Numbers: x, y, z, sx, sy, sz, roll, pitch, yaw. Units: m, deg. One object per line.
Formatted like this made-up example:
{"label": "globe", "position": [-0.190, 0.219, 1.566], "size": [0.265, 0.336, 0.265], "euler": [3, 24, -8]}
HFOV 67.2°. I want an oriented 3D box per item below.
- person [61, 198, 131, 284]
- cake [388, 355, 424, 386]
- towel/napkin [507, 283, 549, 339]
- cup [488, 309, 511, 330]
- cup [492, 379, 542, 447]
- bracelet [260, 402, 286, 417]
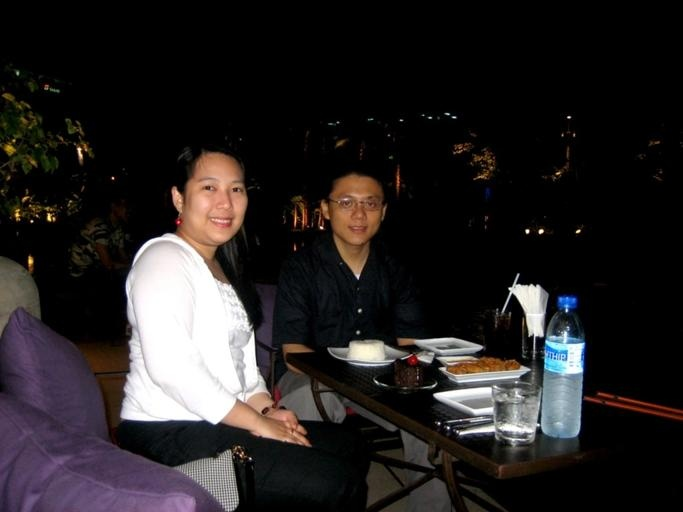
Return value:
{"label": "person", "position": [-3.055, -0.216, 6.613], "size": [0.829, 1.066, 0.883], "euler": [8, 0, 0]}
{"label": "cake", "position": [0.276, 0.475, 2.118], "size": [0.085, 0.127, 0.146], "euler": [2, -3, -31]}
{"label": "towel/napkin", "position": [0.938, 0.306, 2.563], "size": [0.190, 0.269, 0.180], "euler": [1, -10, 31]}
{"label": "cup", "position": [0.802, 0.325, 2.605], "size": [0.091, 0.072, 0.102], "euler": [1, -7, 2]}
{"label": "cup", "position": [0.582, 0.505, 1.662], "size": [0.192, 0.179, 0.101], "euler": [-1, 3, -16]}
{"label": "bracelet", "position": [-0.305, 0.694, 2.317], "size": [0.079, 0.029, 0.080], "euler": [-3, -1, 45]}
